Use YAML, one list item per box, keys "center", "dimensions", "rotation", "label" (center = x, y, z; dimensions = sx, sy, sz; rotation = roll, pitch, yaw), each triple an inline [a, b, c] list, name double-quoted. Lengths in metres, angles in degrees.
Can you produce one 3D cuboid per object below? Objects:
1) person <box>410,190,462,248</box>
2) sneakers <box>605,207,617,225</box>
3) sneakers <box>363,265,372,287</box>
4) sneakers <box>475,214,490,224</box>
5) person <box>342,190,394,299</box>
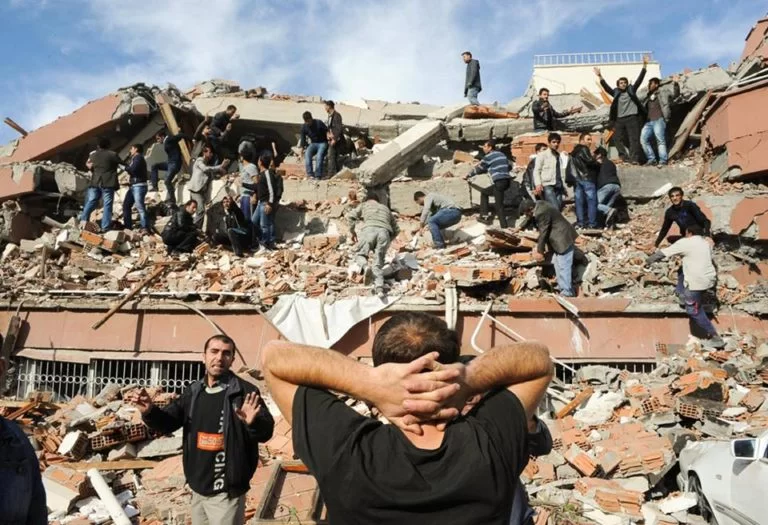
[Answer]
- center: [1.293, -1.039, 16.496]
  dimensions: [0.987, 1.400, 0.510]
  rotation: [-4, -6, 0]
  label: "person"
- center: [5.526, -1.092, 16.981]
  dimensions: [0.208, 0.599, 0.261]
  rotation: [0, 14, -8]
  label: "sneakers"
- center: [-0.338, 0.298, 14.846]
  dimensions: [0.149, 0.170, 0.411]
  rotation: [-2, -50, -7]
  label: "sneakers"
- center: [2.513, -1.111, 17.639]
  dimensions: [0.149, 0.174, 0.404]
  rotation: [-3, 10, -27]
  label: "sneakers"
- center: [-0.229, -0.547, 15.275]
  dimensions: [1.137, 2.631, 0.839]
  rotation: [5, -25, -15]
  label: "person"
